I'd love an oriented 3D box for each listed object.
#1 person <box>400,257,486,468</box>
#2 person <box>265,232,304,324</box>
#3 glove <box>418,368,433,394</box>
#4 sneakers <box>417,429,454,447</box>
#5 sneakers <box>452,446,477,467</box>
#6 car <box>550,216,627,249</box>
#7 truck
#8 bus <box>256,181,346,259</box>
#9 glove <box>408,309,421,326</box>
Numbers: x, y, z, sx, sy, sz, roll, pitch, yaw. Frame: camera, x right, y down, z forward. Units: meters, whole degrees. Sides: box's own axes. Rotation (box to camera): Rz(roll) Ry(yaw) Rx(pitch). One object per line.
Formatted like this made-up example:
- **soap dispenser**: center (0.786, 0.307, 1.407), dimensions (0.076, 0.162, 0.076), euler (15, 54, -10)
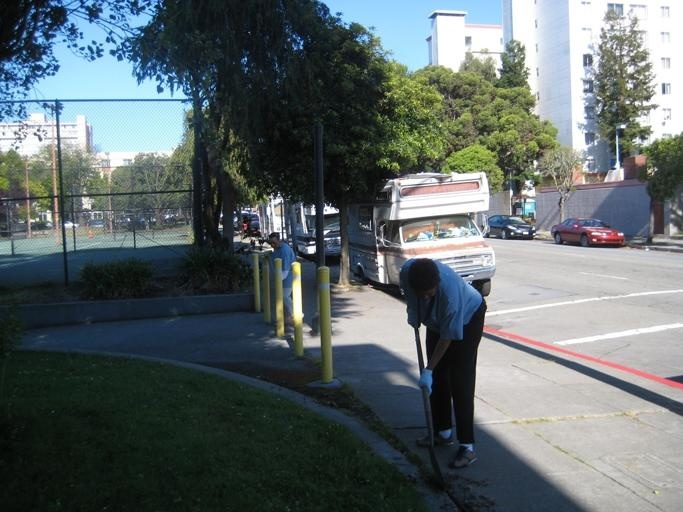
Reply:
- **person**: center (1.120, 1.114, 6.932), dimensions (0.949, 2.252, 0.587), euler (-4, 6, -19)
- **person**: center (-1.196, 0.424, 13.202), dimensions (0.530, 1.748, 1.399), euler (-2, 6, -6)
- **glove**: center (0.920, 1.353, 6.927), dimensions (0.124, 0.366, 0.338), euler (0, 6, 19)
- **sneakers**: center (1.069, 2.073, 7.226), dimensions (0.463, 0.242, 0.183), euler (4, -3, -7)
- **sneakers**: center (1.314, 2.155, 6.932), dimensions (0.136, 0.152, 0.310), euler (-5, -7, 37)
- **car**: center (12.204, -1.091, 31.967), dimensions (1.397, 1.143, 3.377), euler (1, -1, -13)
- **truck**: center (1.975, -0.724, 18.037), dimensions (2.150, 2.632, 4.812), euler (-1, 1, -14)
- **bus**: center (-2.146, -1.033, 30.064), dimensions (2.268, 3.647, 6.633), euler (-4, 6, -26)
- **glove**: center (0.783, 0.656, 6.917), dimensions (0.151, 0.237, 0.110), euler (-2, 1, -37)
